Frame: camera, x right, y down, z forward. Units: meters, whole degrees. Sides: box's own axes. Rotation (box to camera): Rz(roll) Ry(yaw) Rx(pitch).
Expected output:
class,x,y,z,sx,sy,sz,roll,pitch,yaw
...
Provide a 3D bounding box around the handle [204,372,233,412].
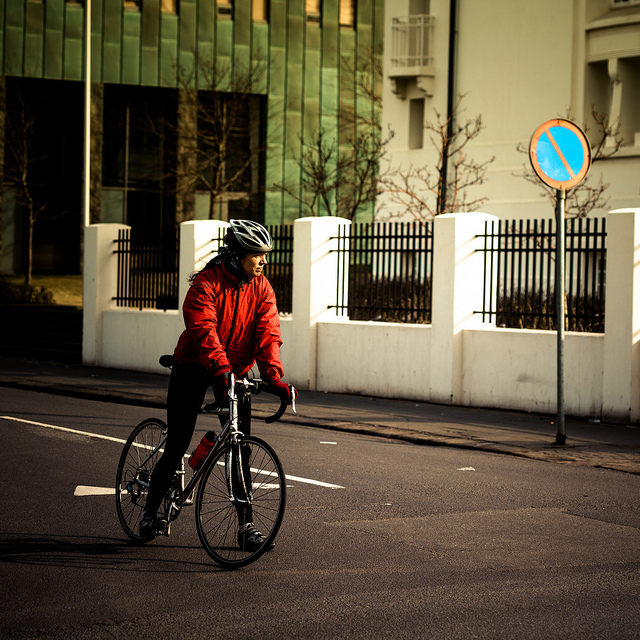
class,x,y,z,sx,sy,sz,roll,pitch,yaw
handle,-0.598,0.423,5.924,0.131,0.257,0.317,0,2,-19

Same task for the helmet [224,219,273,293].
class,x,y,z,sx,sy,sz,roll,pitch,yaw
helmet,-0.472,-0.353,6.014,0.272,0.472,0.281,14,-2,-14

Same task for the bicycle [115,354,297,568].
class,x,y,z,sx,sy,sz,roll,pitch,yaw
bicycle,-0.772,0.848,6.167,1.268,1.162,0.430,2,-13,37

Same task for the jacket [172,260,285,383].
class,x,y,z,sx,sy,sz,roll,pitch,yaw
jacket,-0.492,0.016,6.007,0.483,0.767,0.618,0,-4,3

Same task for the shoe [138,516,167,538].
class,x,y,z,sx,sy,sz,roll,pitch,yaw
shoe,-1.029,1.273,6.242,0.184,0.167,0.068,5,27,43

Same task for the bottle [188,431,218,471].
class,x,y,z,sx,sy,sz,roll,pitch,yaw
bottle,-0.708,0.774,6.078,0.078,0.231,0.083,29,11,-6

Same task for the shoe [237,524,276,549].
class,x,y,z,sx,sy,sz,roll,pitch,yaw
shoe,-0.364,1.254,5.906,0.093,0.154,0.269,-3,-2,-44
